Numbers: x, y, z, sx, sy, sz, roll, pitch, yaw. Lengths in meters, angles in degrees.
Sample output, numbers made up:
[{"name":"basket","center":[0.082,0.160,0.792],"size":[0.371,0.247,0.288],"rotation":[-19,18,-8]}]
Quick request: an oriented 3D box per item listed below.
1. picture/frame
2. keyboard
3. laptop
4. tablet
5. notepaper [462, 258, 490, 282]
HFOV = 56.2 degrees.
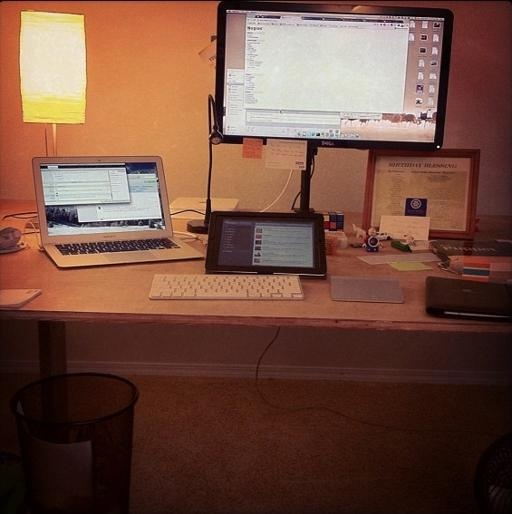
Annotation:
[{"name":"picture/frame","center":[0.524,-0.202,1.527],"size":[0.348,0.277,0.065],"rotation":[2,14,3]},{"name":"keyboard","center":[-0.063,0.064,1.066],"size":[0.327,0.028,0.119],"rotation":[0,15,-4]},{"name":"laptop","center":[-0.424,-0.133,1.362],"size":[0.412,0.275,0.365],"rotation":[-5,21,-25]},{"name":"tablet","center":[0.027,-0.036,1.207],"size":[0.292,0.133,0.153],"rotation":[1,14,2]},{"name":"notepaper","center":[0.541,0.020,1.175],"size":[0.065,0.040,0.066],"rotation":[4,12,16]}]
